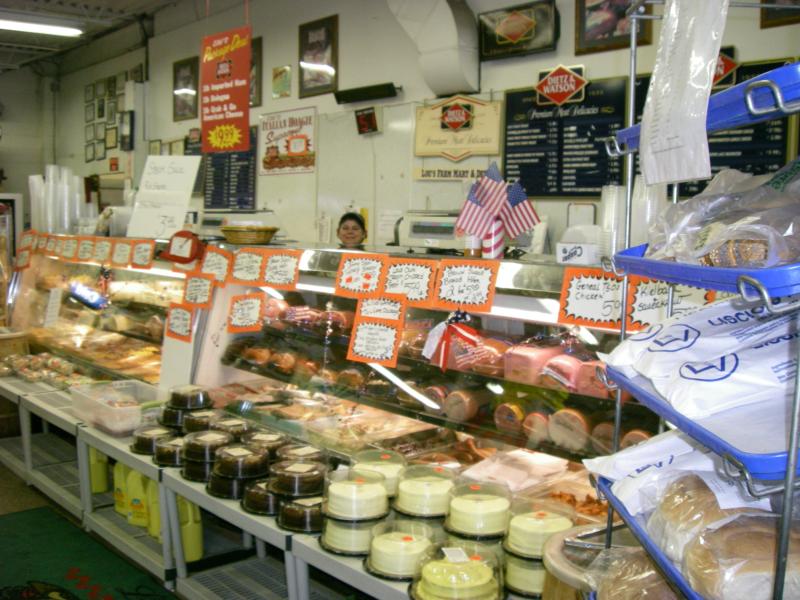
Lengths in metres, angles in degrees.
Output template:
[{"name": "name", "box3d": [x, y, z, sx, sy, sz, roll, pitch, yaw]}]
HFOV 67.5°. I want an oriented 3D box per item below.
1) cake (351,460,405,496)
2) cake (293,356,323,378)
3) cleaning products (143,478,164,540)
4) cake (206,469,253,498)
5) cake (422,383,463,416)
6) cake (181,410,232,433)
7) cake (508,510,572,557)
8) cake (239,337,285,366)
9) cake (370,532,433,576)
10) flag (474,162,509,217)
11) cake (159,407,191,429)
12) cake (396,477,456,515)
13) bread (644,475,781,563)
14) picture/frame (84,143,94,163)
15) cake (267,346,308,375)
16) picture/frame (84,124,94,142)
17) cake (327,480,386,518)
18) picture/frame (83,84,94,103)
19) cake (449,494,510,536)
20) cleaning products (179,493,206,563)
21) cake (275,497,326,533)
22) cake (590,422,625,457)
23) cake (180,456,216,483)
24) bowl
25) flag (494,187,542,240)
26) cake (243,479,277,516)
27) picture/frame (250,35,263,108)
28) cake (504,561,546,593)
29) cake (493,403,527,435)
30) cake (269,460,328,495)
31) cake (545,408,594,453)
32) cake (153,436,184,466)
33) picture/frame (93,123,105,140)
[{"name": "cake", "box3d": [-0.075, 0.608, 2.124, 0.148, 0.072, 0.135, 1, -3, -1]}, {"name": "cake", "box3d": [-0.436, 0.318, 2.891, 0.119, 0.101, 0.111, 1, -4, 13]}, {"name": "cleaning products", "box3d": [-1.157, 0.977, 2.854, 0.093, 0.225, 0.072, -6, -7, -15]}, {"name": "cake", "box3d": [-0.629, 0.680, 2.228, 0.139, 0.042, 0.128, 7, 2, -8]}, {"name": "cake", "box3d": [0.179, 0.380, 2.309, 0.120, 0.109, 0.181, -12, 11, -36]}, {"name": "cake", "box3d": [-0.881, 0.529, 2.675, 0.120, 0.038, 0.113, 4, 4, 22]}, {"name": "cake", "box3d": [0.381, 0.640, 1.664, 0.141, 0.071, 0.130, 0, 0, 3]}, {"name": "cake", "box3d": [-0.690, 0.262, 2.989, 0.161, 0.142, 0.082, -6, -32, 13]}, {"name": "cake", "box3d": [0.003, 0.739, 1.747, 0.210, 0.085, 0.130, 2, 5, 22]}, {"name": "flag", "box3d": [0.312, -0.390, 2.051, 0.132, 0.203, 0.015, 12, 45, 18]}, {"name": "cake", "box3d": [-1.066, 0.548, 2.808, 0.121, 0.059, 0.111, 5, 0, 4]}, {"name": "cake", "box3d": [0.093, 0.639, 1.987, 0.210, 0.066, 0.192, -6, 3, -25]}, {"name": "bread", "box3d": [0.486, 0.366, 1.012, 0.119, 0.049, 0.151, -23, 24, 13]}, {"name": "picture/frame", "box3d": [-4.606, -2.174, 8.842, 0.376, 0.330, 0.032, 2, 0, 43]}, {"name": "cake", "box3d": [-0.547, 0.293, 2.950, 0.204, 0.092, 0.095, 8, 22, 35]}, {"name": "picture/frame", "box3d": [-4.588, -2.463, 8.811, 0.026, 0.246, 0.327, -12, 18, -42]}, {"name": "cake", "box3d": [-0.143, 0.644, 1.953, 0.196, 0.074, 0.192, 3, 1, -34]}, {"name": "picture/frame", "box3d": [-4.577, -3.031, 8.778, 0.052, 0.315, 0.372, -6, 11, -40]}, {"name": "cake", "box3d": [0.236, 0.659, 1.851, 0.222, 0.071, 0.210, 0, -1, 16]}, {"name": "cleaning products", "box3d": [-0.930, 1.018, 2.654, 0.102, 0.293, 0.164, -1, 5, -19]}, {"name": "cake", "box3d": [-0.340, 0.719, 2.020, 0.165, 0.081, 0.124, 0, 5, -6]}, {"name": "cake", "box3d": [0.667, 0.447, 1.937, 0.057, 0.116, 0.088, -4, 6, -39]}, {"name": "cake", "box3d": [-0.813, 0.666, 2.404, 0.116, 0.057, 0.109, 2, 6, -19]}, {"name": "bowl", "box3d": [-1.456, 0.523, 3.034, 0.408, 0.106, 0.294, 15, 16, 41]}, {"name": "flag", "box3d": [0.403, -0.327, 2.152, 0.015, 0.244, 0.211, 25, -35, -36]}, {"name": "cake", "box3d": [-0.504, 0.698, 2.152, 0.111, 0.041, 0.109, 6, 8, -42]}, {"name": "picture/frame", "box3d": [-1.551, -2.448, 6.439, 0.055, 0.730, 0.186, -4, 6, -40]}, {"name": "cake", "box3d": [0.343, 0.756, 1.638, 0.109, 0.067, 0.100, 1, 0, 1]}, {"name": "cake", "box3d": [0.400, 0.423, 2.148, 0.060, 0.105, 0.105, 0, -29, -41]}, {"name": "cake", "box3d": [-0.372, 0.639, 2.193, 0.247, 0.063, 0.230, 3, 2, -18]}, {"name": "cake", "box3d": [0.583, 0.433, 2.039, 0.152, 0.127, 0.076, 5, 18, 41]}, {"name": "cake", "box3d": [-0.978, 0.642, 2.524, 0.155, 0.059, 0.143, 2, 5, -12]}, {"name": "picture/frame", "box3d": [-4.312, -2.414, 8.558, 0.331, 0.304, 0.029, 4, 6, 41]}]
